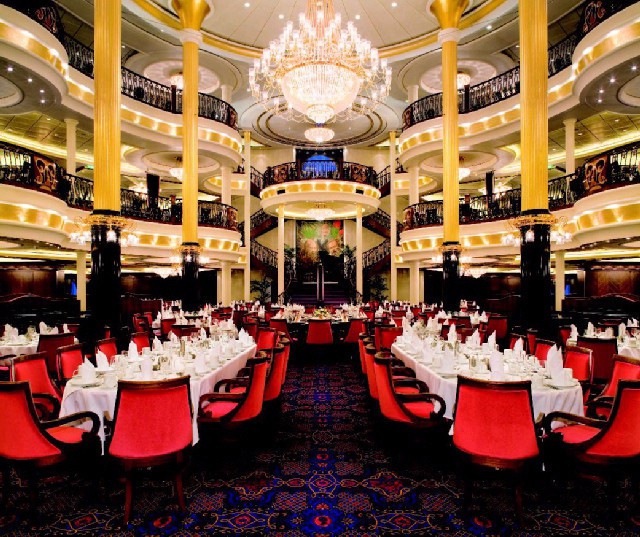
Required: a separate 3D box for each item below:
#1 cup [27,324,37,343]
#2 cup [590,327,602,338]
[{"bbox_3d":[-4.752,1.063,8.204,0.160,0.274,0.169,-2,-3,0],"label":"cup"},{"bbox_3d":[4.453,1.011,8.023,0.115,0.065,0.165,0,6,10],"label":"cup"}]
